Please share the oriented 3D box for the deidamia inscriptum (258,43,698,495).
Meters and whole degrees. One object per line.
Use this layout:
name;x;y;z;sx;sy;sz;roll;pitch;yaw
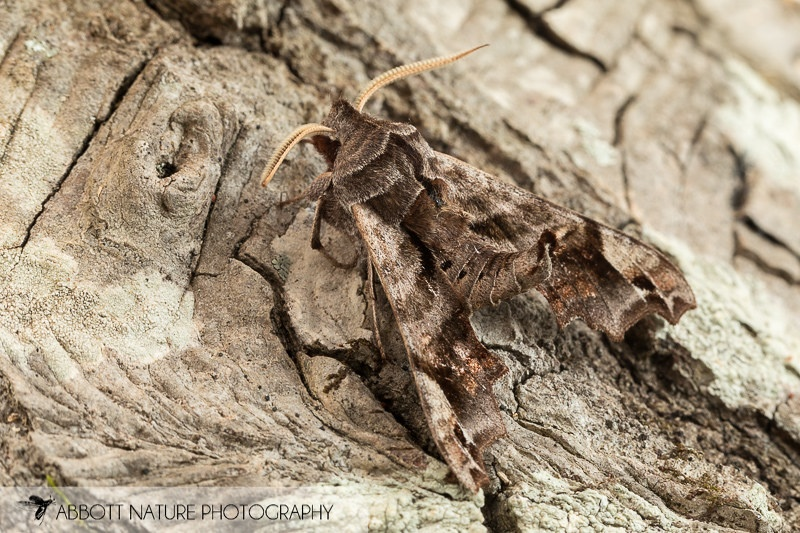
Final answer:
deidamia inscriptum;0.306;0.066;9.311;2.436;1.864;1.283;49;-17;14
